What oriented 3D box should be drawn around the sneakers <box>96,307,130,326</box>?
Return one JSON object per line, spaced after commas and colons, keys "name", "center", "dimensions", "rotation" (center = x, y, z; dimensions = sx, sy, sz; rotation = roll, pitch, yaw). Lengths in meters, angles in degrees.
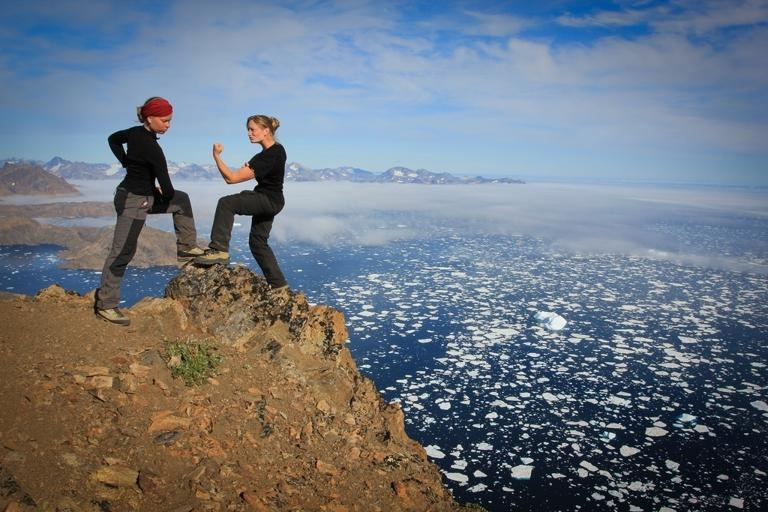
{"name": "sneakers", "center": [-4.505, 1.000, 7.810], "dimensions": [0.703, 0.218, 0.229], "rotation": [10, 5, 0]}
